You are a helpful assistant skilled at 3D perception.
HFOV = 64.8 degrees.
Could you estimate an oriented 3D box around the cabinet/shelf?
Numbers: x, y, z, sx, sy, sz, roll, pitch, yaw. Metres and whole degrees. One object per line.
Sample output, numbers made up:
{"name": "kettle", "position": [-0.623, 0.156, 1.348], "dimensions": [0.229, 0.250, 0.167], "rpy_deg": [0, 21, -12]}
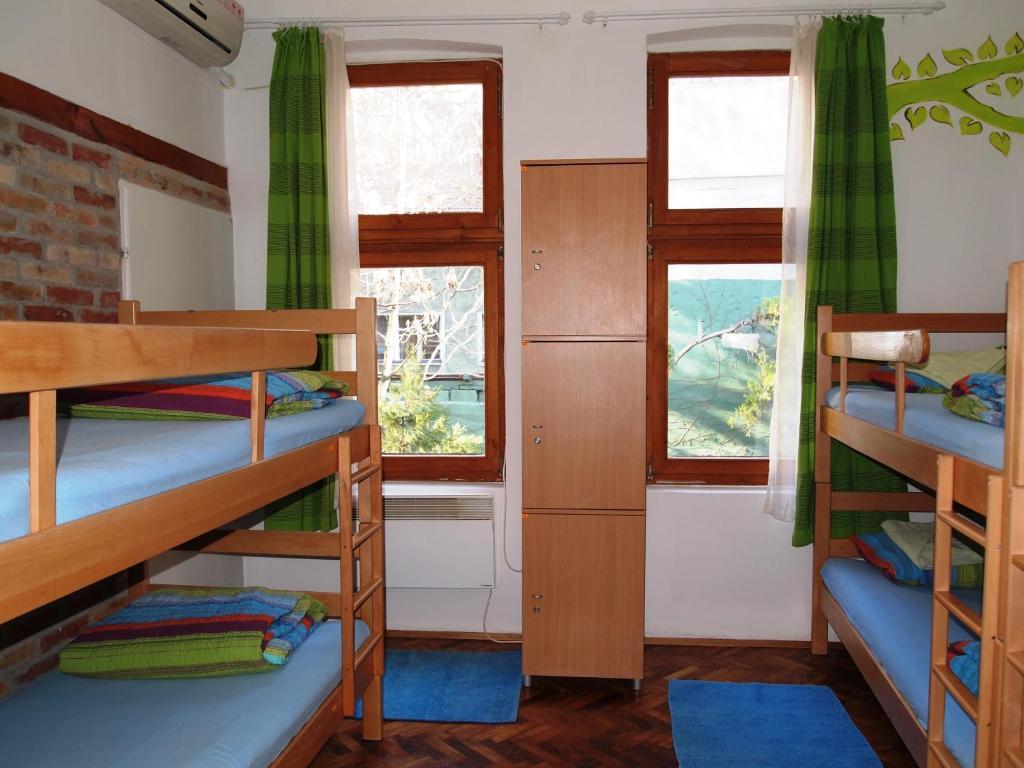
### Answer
{"name": "cabinet/shelf", "position": [0.319, 0.159, 3.547], "dimensions": [0.524, 2.215, 0.471], "rpy_deg": [0, 14, 3]}
